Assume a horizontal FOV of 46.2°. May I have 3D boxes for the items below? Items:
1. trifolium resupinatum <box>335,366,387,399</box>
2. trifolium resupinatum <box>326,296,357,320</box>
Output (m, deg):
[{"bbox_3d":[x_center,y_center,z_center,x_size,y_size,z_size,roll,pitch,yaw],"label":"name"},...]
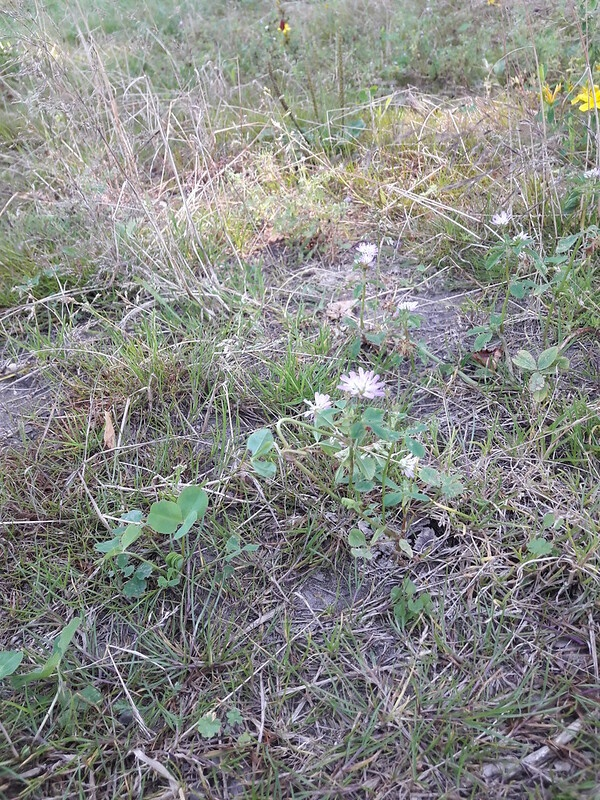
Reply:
[{"bbox_3d":[0.173,-0.026,1.781,0.108,0.045,0.111,25,45,24],"label":"trifolium resupinatum"},{"bbox_3d":[0.160,-0.352,2.680,0.114,0.025,0.136,-3,41,17],"label":"trifolium resupinatum"}]
